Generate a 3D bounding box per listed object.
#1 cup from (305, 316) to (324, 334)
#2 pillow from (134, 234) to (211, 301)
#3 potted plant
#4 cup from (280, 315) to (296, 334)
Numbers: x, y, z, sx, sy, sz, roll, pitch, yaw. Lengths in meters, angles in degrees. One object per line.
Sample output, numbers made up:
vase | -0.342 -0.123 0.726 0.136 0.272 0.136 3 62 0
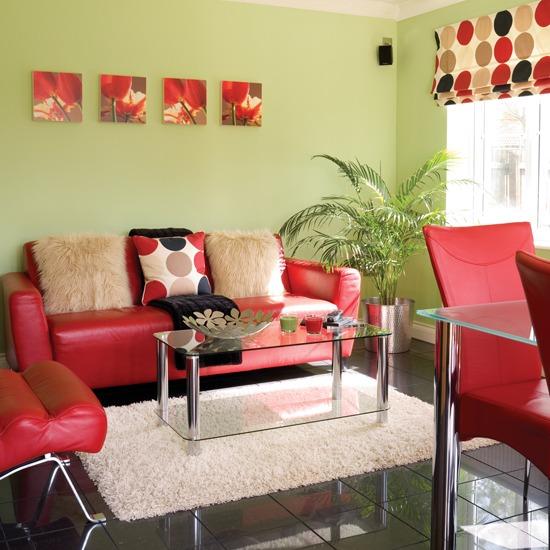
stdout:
cup | 0.199 0.249 2.499 0.085 0.071 0.086 0 -2 0
pillow | -0.733 -0.042 3.457 0.462 0.380 0.231 -5 8 -24
potted plant | 0.816 -0.167 4.583 1.837 1.667 1.693 -1 -6 2
cup | 0.066 0.260 2.557 0.081 0.054 0.077 1 4 0
